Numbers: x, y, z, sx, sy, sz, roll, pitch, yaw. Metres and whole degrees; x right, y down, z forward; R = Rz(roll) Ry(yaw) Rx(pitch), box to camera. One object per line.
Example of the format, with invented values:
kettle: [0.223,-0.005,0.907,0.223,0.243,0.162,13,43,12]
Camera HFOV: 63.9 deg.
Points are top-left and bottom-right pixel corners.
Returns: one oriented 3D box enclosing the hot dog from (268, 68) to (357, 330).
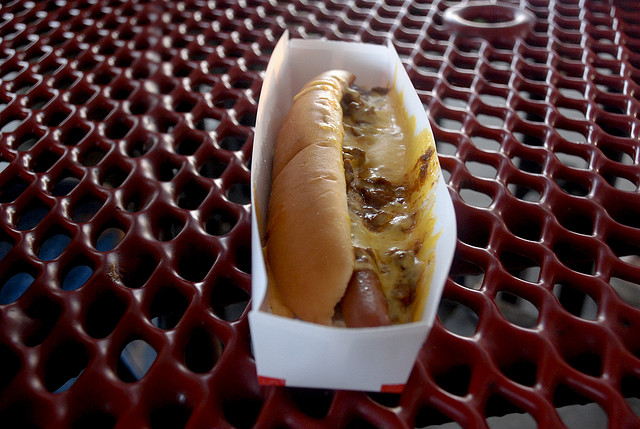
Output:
hot dog: [-0.018,-0.021,1.174,0.181,0.192,0.689,-2,49,3]
